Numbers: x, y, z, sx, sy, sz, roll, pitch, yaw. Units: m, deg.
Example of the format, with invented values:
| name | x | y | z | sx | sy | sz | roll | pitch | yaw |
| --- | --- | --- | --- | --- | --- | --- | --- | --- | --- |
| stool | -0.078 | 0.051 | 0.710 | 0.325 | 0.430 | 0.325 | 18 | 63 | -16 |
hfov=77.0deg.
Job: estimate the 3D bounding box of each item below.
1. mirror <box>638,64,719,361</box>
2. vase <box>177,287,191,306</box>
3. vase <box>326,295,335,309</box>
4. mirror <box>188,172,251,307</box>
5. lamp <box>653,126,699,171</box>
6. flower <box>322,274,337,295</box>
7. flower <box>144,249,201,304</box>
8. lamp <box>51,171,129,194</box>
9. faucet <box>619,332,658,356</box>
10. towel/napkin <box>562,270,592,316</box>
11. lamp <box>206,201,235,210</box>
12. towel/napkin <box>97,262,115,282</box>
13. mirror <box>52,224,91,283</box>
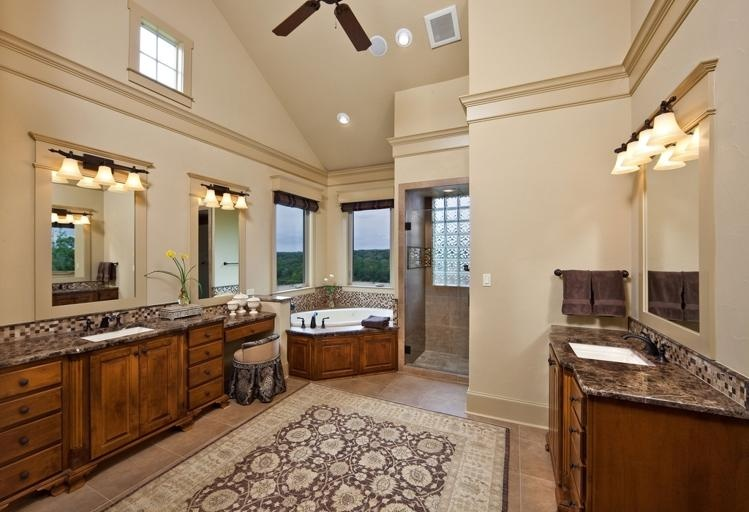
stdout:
| name | x | y | z | sx | sy | sz | roll | pitch | yaw |
| --- | --- | --- | --- | --- | --- | --- | --- | --- | --- |
| mirror | 2.664 | -0.363 | 4.163 | 0.240 | 2.383 | 0.975 | -2 | -2 | 2 |
| vase | -2.229 | 0.469 | 5.502 | 0.138 | 0.187 | 0.209 | -2 | -2 | -22 |
| vase | -0.720 | 0.752 | 7.802 | 0.115 | 0.167 | 0.212 | -2 | -2 | -7 |
| mirror | -1.964 | -0.120 | 5.939 | 0.751 | 1.551 | 0.100 | 2 | -6 | -40 |
| lamp | 2.529 | -0.908 | 3.970 | 0.270 | 0.293 | 0.255 | -5 | 4 | -21 |
| flower | -0.770 | 0.476 | 7.946 | 0.215 | 0.381 | 0.204 | -4 | -2 | 40 |
| flower | -2.267 | 0.241 | 5.613 | 0.494 | 0.615 | 0.616 | -1 | 7 | -4 |
| lamp | -2.927 | -0.768 | 4.850 | 0.691 | 0.151 | 0.188 | 0 | -3 | -42 |
| faucet | 2.361 | 0.797 | 4.288 | 0.393 | 0.252 | 0.142 | -2 | -3 | 31 |
| towel/napkin | 2.103 | 0.383 | 4.860 | 0.307 | 0.450 | 0.118 | -2 | -5 | 22 |
| lamp | -1.941 | -0.638 | 5.905 | 0.153 | 0.071 | 0.431 | -4 | -3 | 34 |
| towel/napkin | -2.876 | 0.172 | 5.001 | 0.181 | 0.234 | 0.124 | -3 | -7 | 13 |
| mirror | -3.137 | -0.084 | 4.734 | 0.385 | 0.685 | 0.051 | -1 | 6 | 17 |
